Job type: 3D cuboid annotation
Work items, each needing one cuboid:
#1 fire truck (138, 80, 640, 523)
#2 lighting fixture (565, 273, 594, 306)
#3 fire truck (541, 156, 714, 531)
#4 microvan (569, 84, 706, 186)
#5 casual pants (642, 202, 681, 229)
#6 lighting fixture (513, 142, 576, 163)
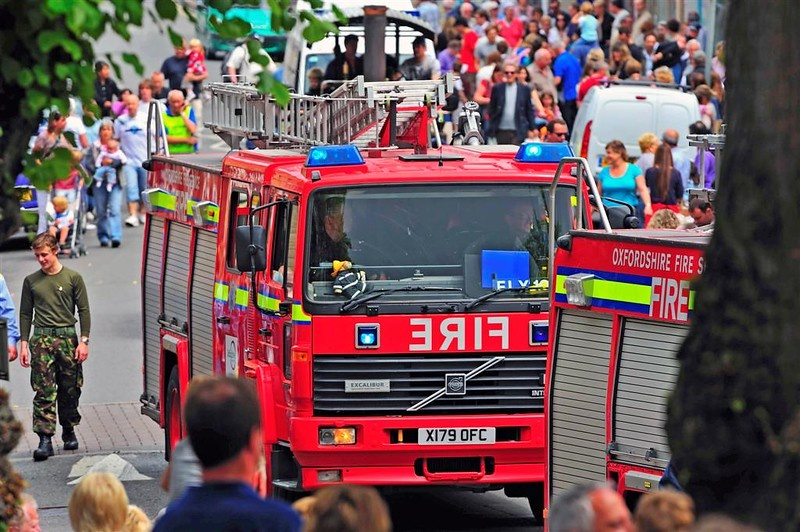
[{"bbox_3d":[-0.631,0.102,15.629,2.727,3.015,5.076,0,1,-15],"label":"fire truck"},{"bbox_3d":[1.334,0.171,12.054,0.216,0.307,0.211,2,0,-31],"label":"lighting fixture"},{"bbox_3d":[1.583,0.745,11.886,0.289,2.507,1.333,0,0,-35],"label":"fire truck"},{"bbox_3d":[3.354,-1.883,22.967,1.201,1.187,2.032,-1,12,4],"label":"microvan"},{"bbox_3d":[2.799,-0.544,17.247,0.418,0.311,0.690,1,3,-4],"label":"casual pants"},{"bbox_3d":[1.246,-0.987,14.043,0.359,0.121,0.245,-2,8,-9],"label":"lighting fixture"}]
